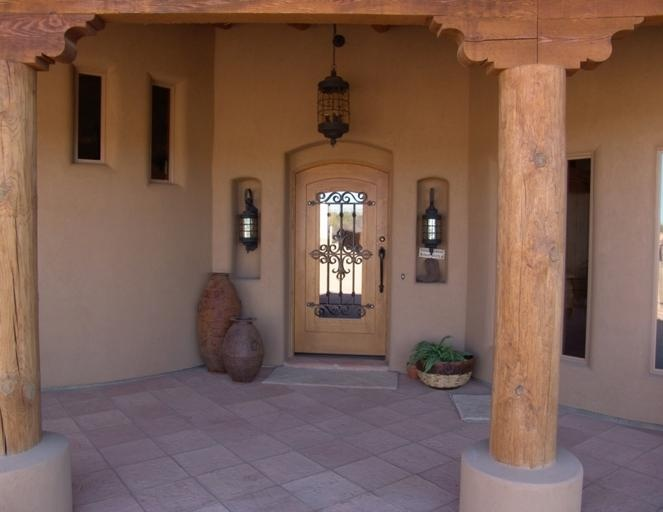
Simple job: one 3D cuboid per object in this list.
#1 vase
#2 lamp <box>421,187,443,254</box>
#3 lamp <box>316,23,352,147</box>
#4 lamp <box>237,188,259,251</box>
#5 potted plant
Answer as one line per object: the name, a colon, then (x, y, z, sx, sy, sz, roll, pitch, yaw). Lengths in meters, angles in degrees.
vase: (-1.184, 0.876, 6.858, 0.475, 1.043, 1.041, 2, 3, -36)
lamp: (1.191, -0.409, 6.998, 0.237, 0.778, 0.282, 2, 7, 10)
lamp: (0.032, -2.002, 6.795, 0.387, 1.417, 0.812, 0, 7, -1)
lamp: (-1.020, -0.440, 7.372, 0.247, 0.787, 0.237, -1, 7, -10)
potted plant: (1.306, 1.195, 6.586, 0.562, 0.427, 0.590, 4, 6, 10)
